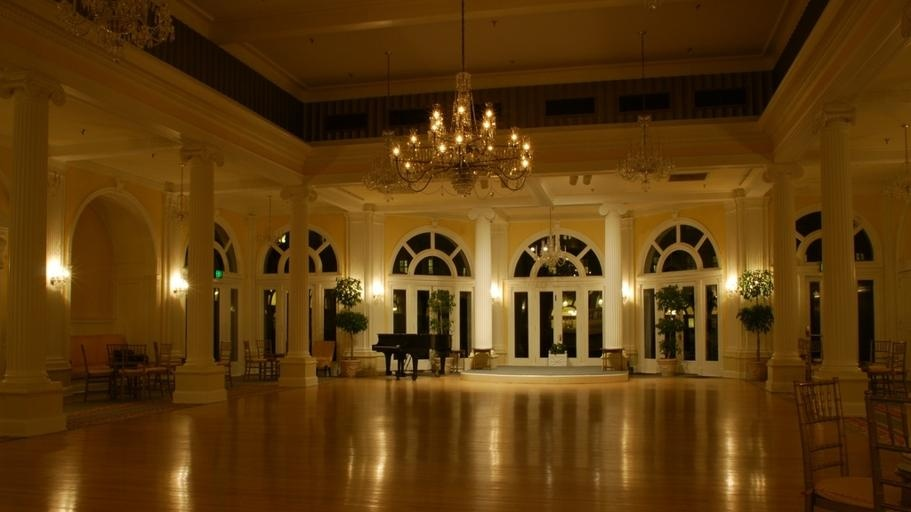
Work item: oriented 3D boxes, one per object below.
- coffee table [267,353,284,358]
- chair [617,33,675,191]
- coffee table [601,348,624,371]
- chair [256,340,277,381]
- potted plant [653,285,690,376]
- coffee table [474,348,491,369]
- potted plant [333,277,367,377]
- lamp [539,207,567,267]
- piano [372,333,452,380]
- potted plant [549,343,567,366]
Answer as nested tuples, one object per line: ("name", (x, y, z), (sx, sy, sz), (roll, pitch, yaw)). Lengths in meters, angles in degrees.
("coffee table", (-5.917, 3.219, 21.854), (0.503, 0.169, 1.165), (3, -12, -18))
("chair", (4.593, -3.456, 16.349), (1.351, 3.714, 1.302), (-7, 12, -14))
("coffee table", (5.630, 3.654, 23.965), (0.769, 0.766, 0.761), (1, -8, -7))
("chair", (-6.399, 3.449, 22.704), (0.715, 1.364, 2.650), (3, -11, -16))
("potted plant", (7.540, 2.527, 23.180), (1.166, 3.087, 1.280), (-3, -10, 17))
("coffee table", (0.937, 3.689, 24.379), (0.691, 0.818, 0.657), (1, -3, 2))
("potted plant", (-3.581, 2.314, 22.931), (1.078, 3.481, 0.931), (0, -10, -2))
("lamp", (3.558, -0.701, 24.650), (0.937, 2.415, 2.664), (-2, -11, 8))
("piano", (-1.205, 3.238, 21.776), (1.483, 1.120, 2.154), (-9, -14, 42))
("potted plant", (3.846, 3.678, 25.268), (0.750, 0.898, 0.500), (-1, -10, 4))
